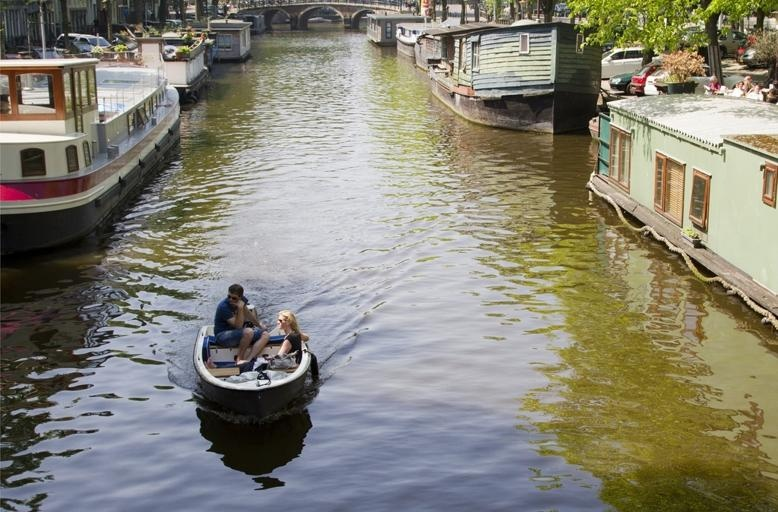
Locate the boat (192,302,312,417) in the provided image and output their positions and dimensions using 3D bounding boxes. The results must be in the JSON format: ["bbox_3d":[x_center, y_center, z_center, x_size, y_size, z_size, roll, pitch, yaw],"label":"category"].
[{"bbox_3d":[-2.967,2.390,15.677,1.856,0.870,2.913,-1,21,-10],"label":"boat"}]
